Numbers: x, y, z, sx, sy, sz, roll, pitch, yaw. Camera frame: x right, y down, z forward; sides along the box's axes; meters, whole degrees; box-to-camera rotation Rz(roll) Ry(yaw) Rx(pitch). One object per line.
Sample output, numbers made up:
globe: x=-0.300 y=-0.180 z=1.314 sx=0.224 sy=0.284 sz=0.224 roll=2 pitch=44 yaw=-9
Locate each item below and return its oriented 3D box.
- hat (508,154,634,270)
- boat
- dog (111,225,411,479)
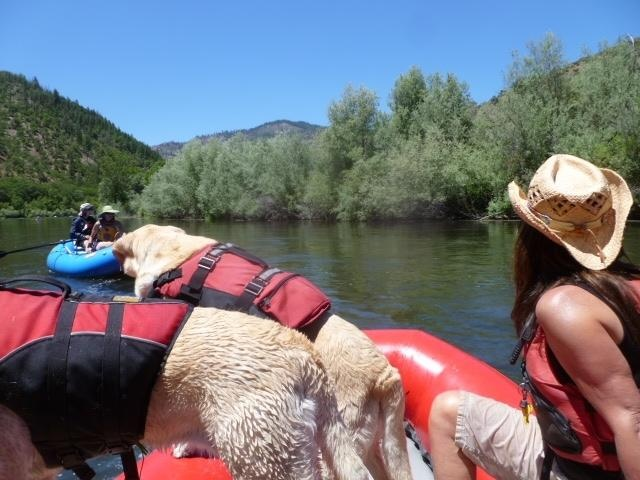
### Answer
hat: x=1.212 y=-0.156 z=2.262 sx=0.445 sy=0.255 sz=0.624 roll=-13 pitch=33 yaw=5
boat: x=-6.018 y=0.372 z=11.422 sx=1.517 sy=0.496 sz=1.573 roll=-10 pitch=26 yaw=-38
dog: x=-0.595 y=0.425 z=3.140 sx=2.830 sy=1.137 sz=0.830 roll=24 pitch=26 yaw=37
